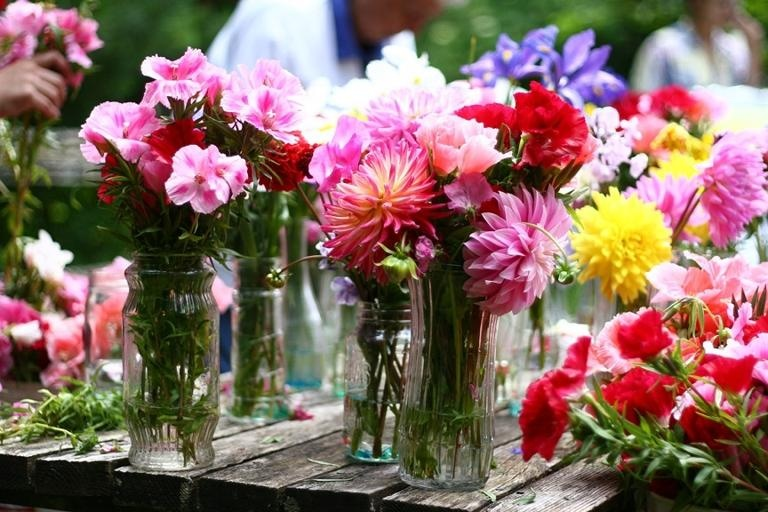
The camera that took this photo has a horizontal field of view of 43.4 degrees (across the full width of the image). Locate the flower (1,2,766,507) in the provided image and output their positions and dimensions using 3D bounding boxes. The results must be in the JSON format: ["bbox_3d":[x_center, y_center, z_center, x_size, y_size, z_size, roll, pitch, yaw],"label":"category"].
[{"bbox_3d":[0.084,0.007,2.419,1.690,1.082,0.766,-1,10,9],"label":"flower"}]
